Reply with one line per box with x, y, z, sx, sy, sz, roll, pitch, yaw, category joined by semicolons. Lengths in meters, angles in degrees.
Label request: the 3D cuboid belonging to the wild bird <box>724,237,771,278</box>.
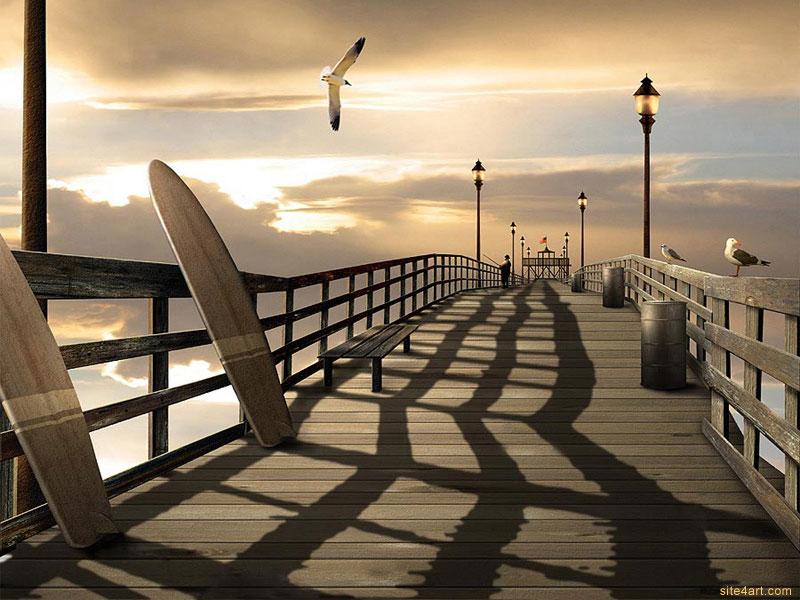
4.241;-0.529;10.460;0.778;0.376;0.212;3;2;-20;wild bird

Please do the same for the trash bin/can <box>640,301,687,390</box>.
2.570;0.446;8.617;0.631;0.734;0.540;-1;-2;17;trash bin/can
